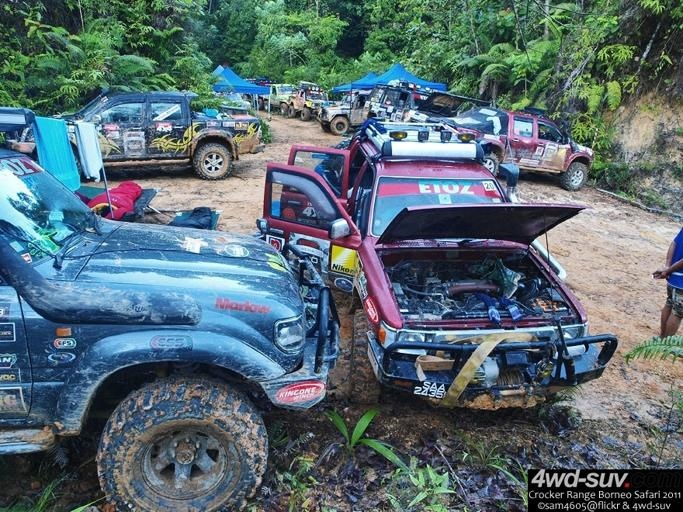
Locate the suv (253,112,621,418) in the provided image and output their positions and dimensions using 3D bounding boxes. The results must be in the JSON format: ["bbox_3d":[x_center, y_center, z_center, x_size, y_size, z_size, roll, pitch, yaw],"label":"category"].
[{"bbox_3d":[0.848,0.188,6.498,3.431,1.711,3.851,-1,31,-14],"label":"suv"}]

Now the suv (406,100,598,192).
[{"bbox_3d":[3.978,-2.696,13.827,4.845,1.595,2.612,0,15,-26],"label":"suv"}]

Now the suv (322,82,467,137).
[{"bbox_3d":[1.371,-5.188,20.483,4.773,1.312,1.796,1,2,1],"label":"suv"}]

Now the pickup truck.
[{"bbox_3d":[-4.208,-2.619,11.894,5.114,1.434,2.074,-2,23,-19],"label":"pickup truck"}]
